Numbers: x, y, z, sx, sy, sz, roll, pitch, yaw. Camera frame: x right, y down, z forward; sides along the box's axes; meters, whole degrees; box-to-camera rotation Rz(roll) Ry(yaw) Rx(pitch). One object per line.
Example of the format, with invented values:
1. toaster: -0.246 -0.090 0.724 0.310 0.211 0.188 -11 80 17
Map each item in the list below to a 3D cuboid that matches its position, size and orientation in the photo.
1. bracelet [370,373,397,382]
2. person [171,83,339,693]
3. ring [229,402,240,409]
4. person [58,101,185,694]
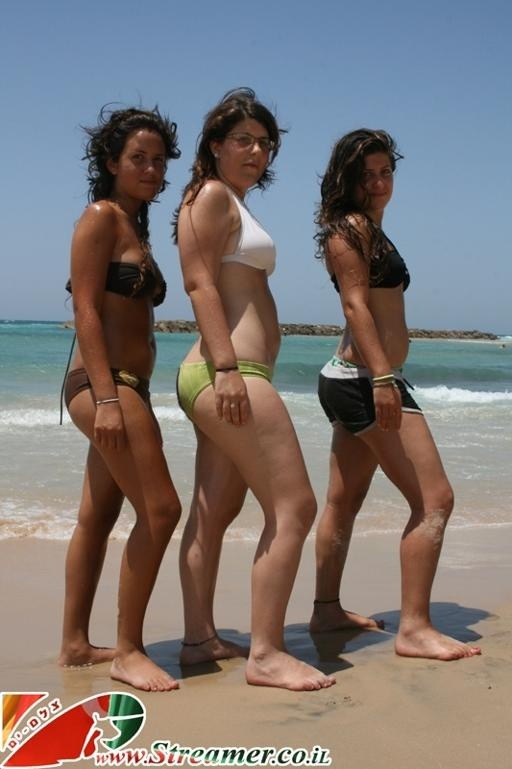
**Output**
1. bracelet: 0.472 -0.025 2.688 0.086 0.035 0.054 -1 -1 -8
2. person: -0.044 -0.058 2.553 0.475 2.158 0.547 -1 -1 -10
3. ring: -0.071 0.065 2.364 0.027 0.019 0.041 -1 7 -1
4. person: -0.470 -0.012 2.612 0.494 2.118 0.597 -1 -1 -15
